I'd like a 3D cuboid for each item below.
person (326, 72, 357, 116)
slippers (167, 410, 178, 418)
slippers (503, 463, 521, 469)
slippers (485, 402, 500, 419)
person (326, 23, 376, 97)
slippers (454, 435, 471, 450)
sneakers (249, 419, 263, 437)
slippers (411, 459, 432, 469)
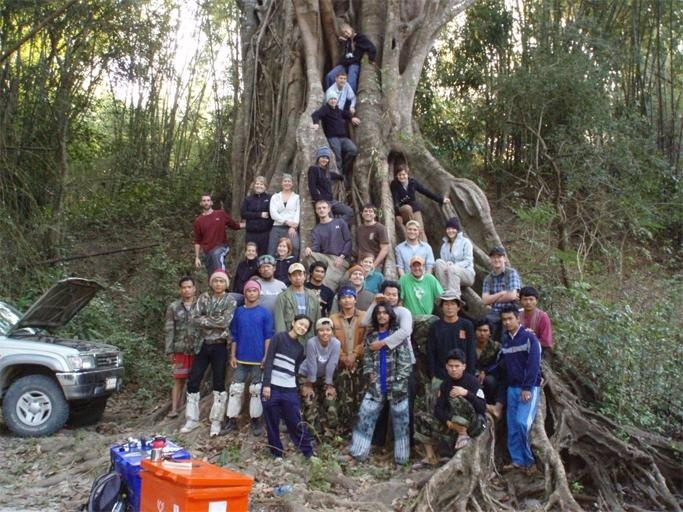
[{"bbox_3d":[-0.015,-3.647,12.101,0.733,1.206,0.705,-12,31,-21],"label":"person"},{"bbox_3d":[-3.154,2.957,9.936,0.173,0.123,0.156,-1,14,34],"label":"slippers"},{"bbox_3d":[2.662,3.270,8.268,0.263,0.125,0.097,4,-8,5],"label":"slippers"},{"bbox_3d":[2.444,2.478,8.519,0.204,0.242,0.360,-1,-6,34],"label":"slippers"},{"bbox_3d":[0.256,-4.653,12.975,1.003,2.041,0.616,6,-5,19],"label":"person"},{"bbox_3d":[1.848,2.806,7.992,0.225,0.208,0.194,1,-5,15],"label":"slippers"},{"bbox_3d":[-1.354,2.760,8.600,0.185,0.272,0.139,3,-5,-8],"label":"sneakers"},{"bbox_3d":[1.241,3.202,8.158,0.228,0.109,0.151,-4,2,-7],"label":"slippers"}]
